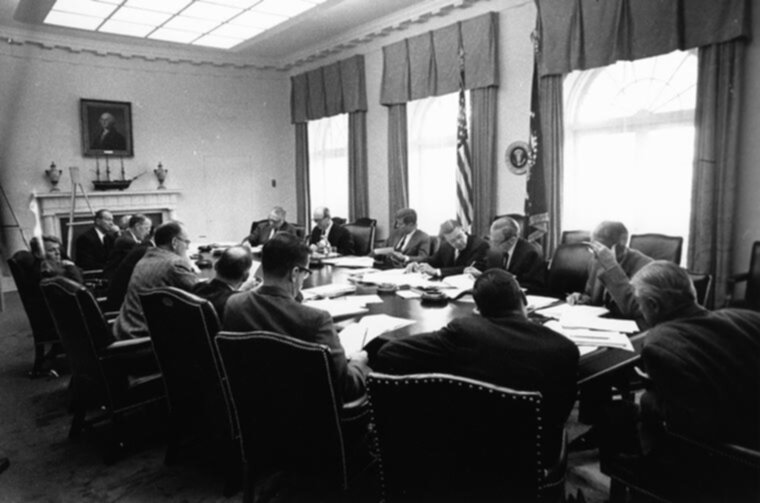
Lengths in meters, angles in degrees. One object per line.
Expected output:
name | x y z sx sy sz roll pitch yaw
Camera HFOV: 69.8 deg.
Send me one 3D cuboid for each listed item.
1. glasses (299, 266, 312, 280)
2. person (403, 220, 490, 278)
glasses | -0.459 0.131 3.315 0.029 0.098 0.096 -16 -11 25
person | 0.559 0.002 4.910 0.502 0.452 0.704 2 12 41
